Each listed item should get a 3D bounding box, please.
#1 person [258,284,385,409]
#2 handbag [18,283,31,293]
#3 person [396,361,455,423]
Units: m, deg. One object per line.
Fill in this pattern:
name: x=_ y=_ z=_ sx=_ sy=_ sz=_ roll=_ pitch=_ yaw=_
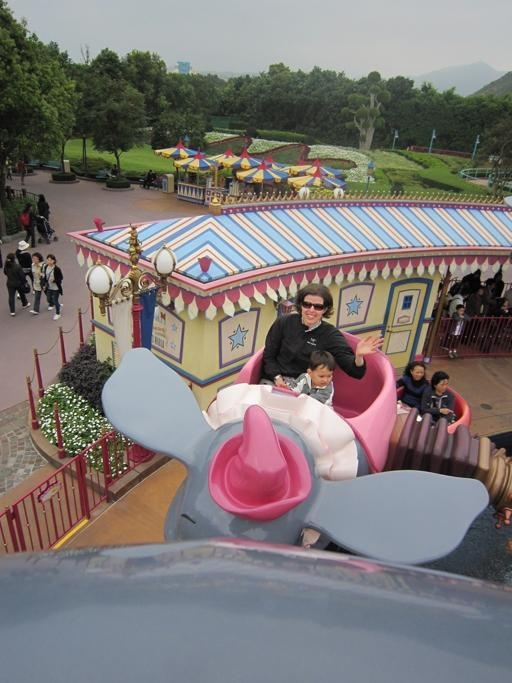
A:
person: x=0.389 y=-0.031 z=4.064 sx=0.975 sy=1.035 sz=0.849 roll=19 pitch=35 yaw=-3
handbag: x=-6.822 y=-1.609 z=14.204 sx=0.212 sy=0.312 sz=0.301 roll=13 pitch=66 yaw=6
person: x=2.530 y=0.712 z=7.036 sx=0.642 sy=0.661 sz=1.323 roll=11 pitch=-3 yaw=8
